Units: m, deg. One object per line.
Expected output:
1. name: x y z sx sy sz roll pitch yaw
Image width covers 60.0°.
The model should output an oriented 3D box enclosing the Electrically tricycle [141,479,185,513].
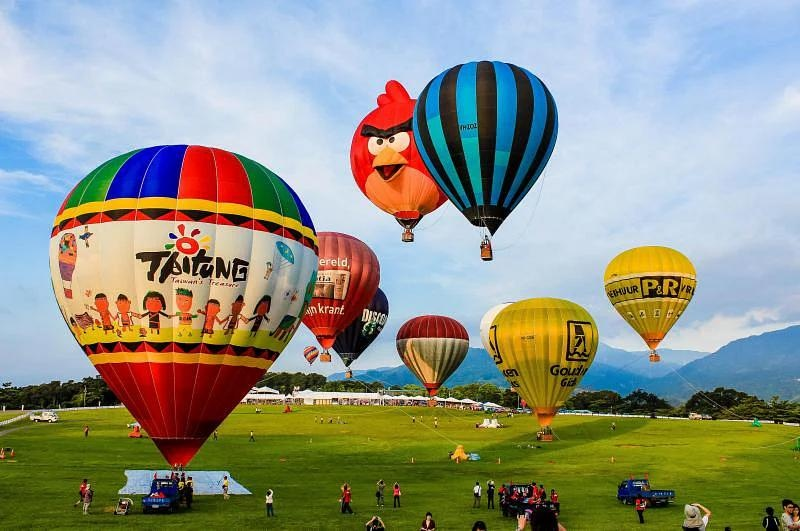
1. Electrically tricycle: -9.877 9.646 28.757 1.013 1.003 1.742 0 -13 -5

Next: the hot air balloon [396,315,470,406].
1. hot air balloon: 3.380 9.193 70.646 6.417 7.864 2.616 1 -4 -1
